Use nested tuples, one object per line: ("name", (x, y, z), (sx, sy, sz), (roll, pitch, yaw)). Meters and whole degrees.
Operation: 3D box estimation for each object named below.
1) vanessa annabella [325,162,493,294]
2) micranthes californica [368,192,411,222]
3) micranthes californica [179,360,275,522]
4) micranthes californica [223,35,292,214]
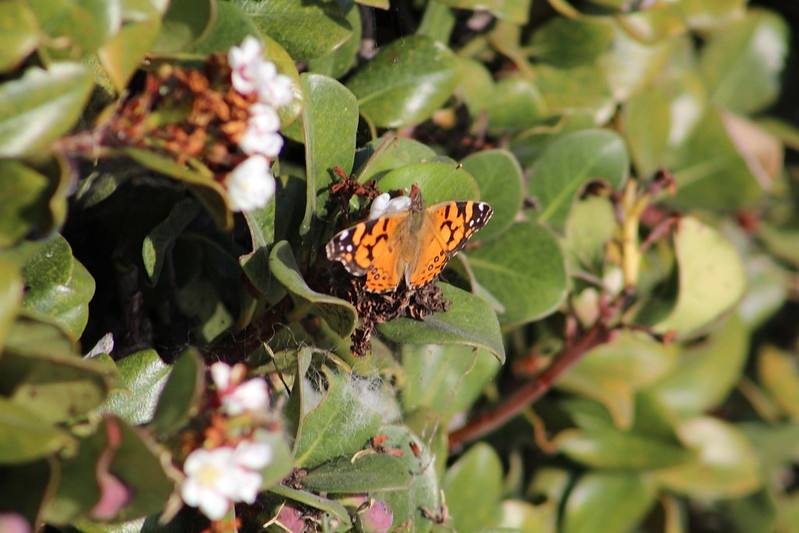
("vanessa annabella", (0.003, -0.034, 1.586), (0.168, 0.250, 0.231), (-1, 93, 33))
("micranthes californica", (-0.018, -0.100, 1.569), (0.051, 0.047, 0.023), (14, 31, 4))
("micranthes californica", (-0.251, 0.256, 1.426), (0.182, 0.089, 0.203), (-33, 91, -9))
("micranthes californica", (-0.203, -0.218, 1.484), (0.137, 0.227, 0.155), (-14, 39, -25))
